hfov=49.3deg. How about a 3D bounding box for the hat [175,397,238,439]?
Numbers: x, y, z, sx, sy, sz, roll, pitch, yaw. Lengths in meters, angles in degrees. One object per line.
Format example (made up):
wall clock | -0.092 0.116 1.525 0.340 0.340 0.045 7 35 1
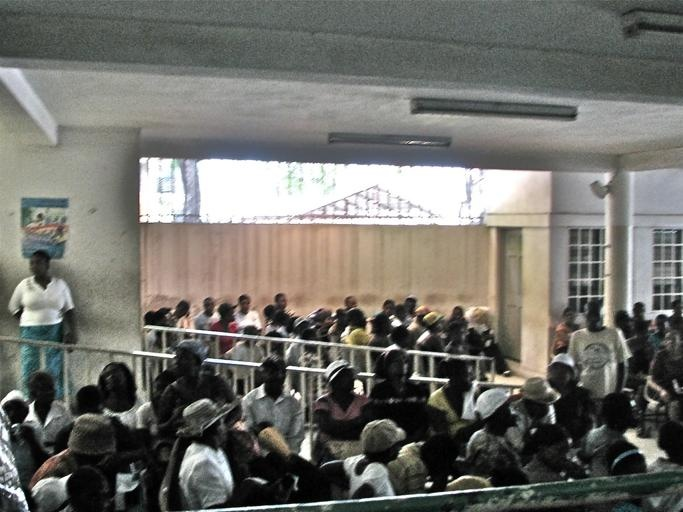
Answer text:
hat | -0.950 1.129 5.079 0.331 0.104 0.288 -34 15 -11

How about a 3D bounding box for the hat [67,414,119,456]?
hat | -1.852 1.262 5.259 0.394 0.252 0.366 6 -9 -9

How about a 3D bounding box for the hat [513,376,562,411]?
hat | 1.680 1.162 6.336 0.345 0.142 0.233 1 8 3

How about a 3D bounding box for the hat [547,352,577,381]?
hat | 2.139 1.072 7.170 0.288 0.248 0.350 0 -14 16

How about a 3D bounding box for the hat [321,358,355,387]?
hat | -0.048 0.965 6.254 0.247 0.084 0.207 -30 -8 -2

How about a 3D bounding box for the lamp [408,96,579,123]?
lamp | 1.626 -1.521 7.677 1.902 0.167 0.487 0 -4 -15
